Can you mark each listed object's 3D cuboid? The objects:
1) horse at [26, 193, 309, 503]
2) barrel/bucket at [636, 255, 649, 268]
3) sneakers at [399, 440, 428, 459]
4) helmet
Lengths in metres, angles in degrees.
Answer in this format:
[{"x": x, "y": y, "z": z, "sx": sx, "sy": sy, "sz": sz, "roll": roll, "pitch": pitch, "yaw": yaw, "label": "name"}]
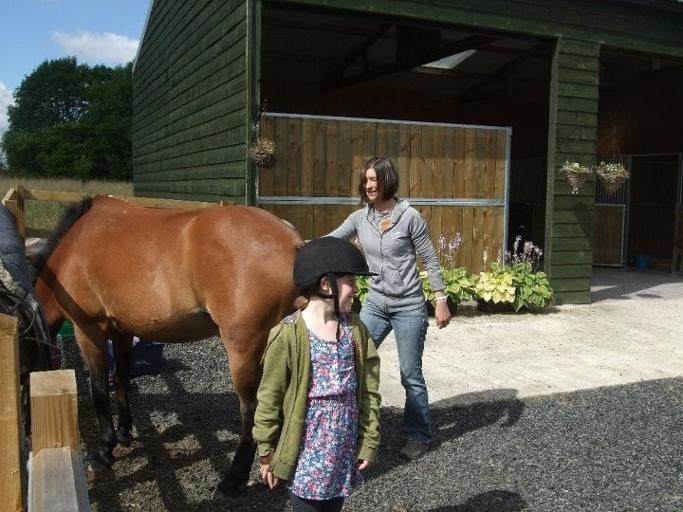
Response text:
[{"x": -1.634, "y": 0.648, "z": 4.678, "sx": 2.774, "sy": 2.235, "sz": 0.806, "roll": 1, "pitch": 10, "yaw": 2, "label": "horse"}, {"x": 6.620, "y": 0.118, "z": 13.235, "sx": 0.218, "sy": 0.208, "sz": 0.247, "roll": -1, "pitch": -4, "yaw": -1, "label": "barrel/bucket"}, {"x": 0.554, "y": 1.468, "z": 4.619, "sx": 0.094, "sy": 0.126, "sz": 0.245, "roll": -1, "pitch": -5, "yaw": 37, "label": "sneakers"}, {"x": -0.054, "y": 0.041, "z": 3.306, "sx": 0.424, "sy": 0.286, "sz": 0.335, "roll": -9, "pitch": -9, "yaw": 5, "label": "helmet"}]
